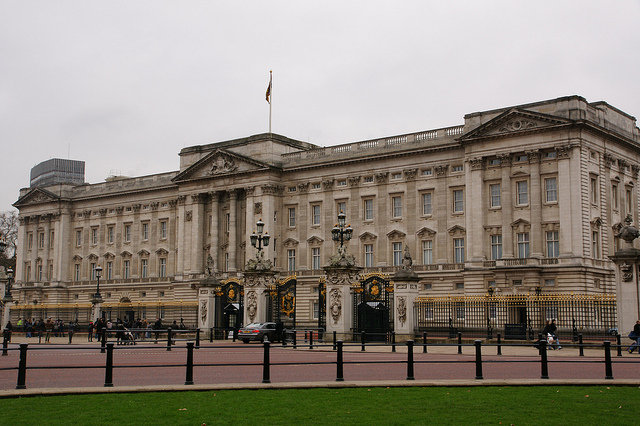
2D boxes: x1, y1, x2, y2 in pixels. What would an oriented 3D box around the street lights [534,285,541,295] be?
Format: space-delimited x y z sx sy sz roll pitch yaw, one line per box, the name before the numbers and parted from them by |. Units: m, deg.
street lights | 16.593 5.843 69.749 0.613 0.591 1.522 0 -9 3
